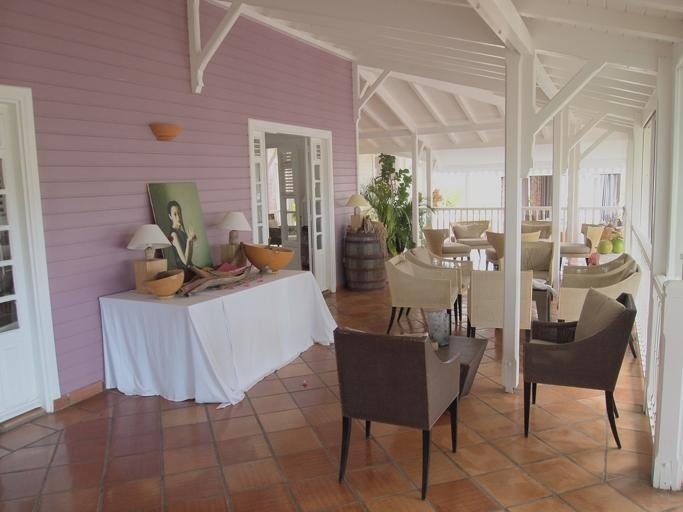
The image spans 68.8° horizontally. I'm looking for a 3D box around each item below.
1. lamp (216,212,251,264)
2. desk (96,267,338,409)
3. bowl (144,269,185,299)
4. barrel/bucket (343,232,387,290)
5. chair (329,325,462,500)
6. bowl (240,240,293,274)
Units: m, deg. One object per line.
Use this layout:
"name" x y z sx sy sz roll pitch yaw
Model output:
"lamp" -1.274 -0.237 5.924 0.358 0.575 0.560 -5 14 -14
"desk" -1.141 0.810 4.899 2.191 0.960 1.007 -9 15 -28
"bowl" -1.623 0.260 4.641 0.278 0.172 0.281 -20 -5 -2
"barrel/bucket" 0.453 0.076 8.531 0.841 1.124 0.883 -2 5 0
"chair" 0.424 0.949 3.815 0.970 1.380 1.040 3 10 26
"bowl" -0.833 0.013 5.707 0.408 0.235 0.386 0 1 0
